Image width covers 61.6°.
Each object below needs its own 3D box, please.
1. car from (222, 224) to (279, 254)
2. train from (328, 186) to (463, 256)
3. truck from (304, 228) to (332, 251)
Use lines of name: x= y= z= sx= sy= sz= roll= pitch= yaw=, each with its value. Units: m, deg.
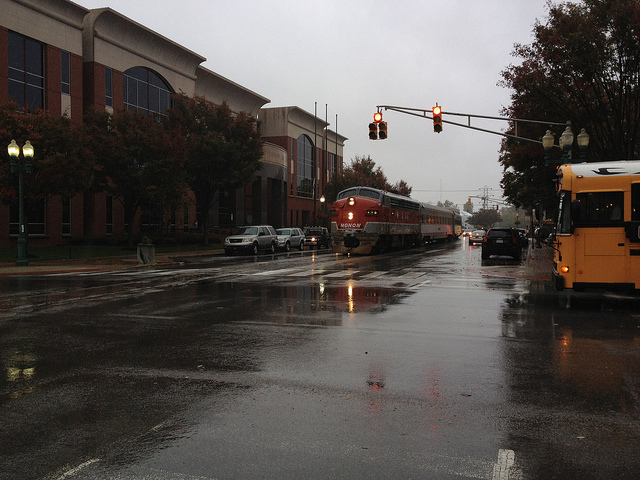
car: x=-4.756 y=0.044 z=38.901 sx=2.315 sy=2.278 sz=5.081 roll=-2 pitch=-1 yaw=20
train: x=8.111 y=-1.400 z=44.999 sx=2.749 sy=4.467 sz=23.118 roll=2 pitch=2 yaw=32
truck: x=-0.169 y=-0.081 z=47.873 sx=1.318 sy=1.352 sz=2.554 roll=-2 pitch=-5 yaw=19
